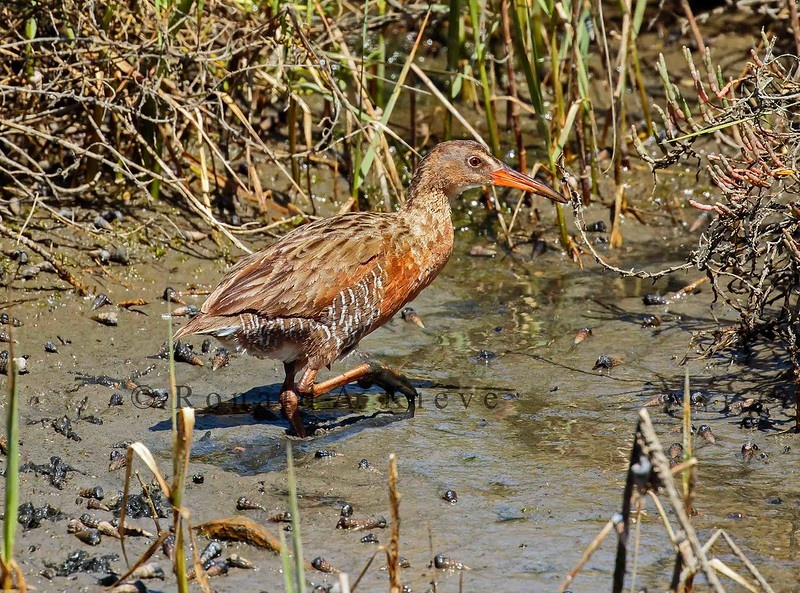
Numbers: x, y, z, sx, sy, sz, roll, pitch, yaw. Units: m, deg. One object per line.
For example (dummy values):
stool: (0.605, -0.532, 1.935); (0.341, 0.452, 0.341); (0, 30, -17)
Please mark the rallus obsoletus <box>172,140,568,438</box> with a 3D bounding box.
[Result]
rallus obsoletus: (-0.173, -0.055, 5.465); (2.450, 1.567, 0.702); (-7, 17, -17)
